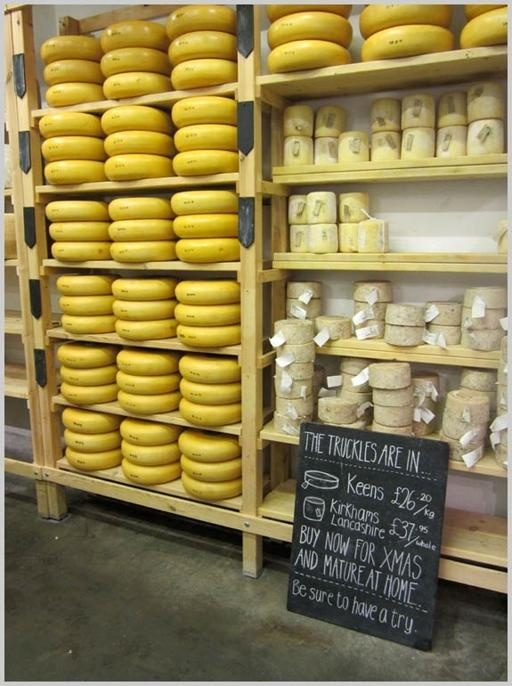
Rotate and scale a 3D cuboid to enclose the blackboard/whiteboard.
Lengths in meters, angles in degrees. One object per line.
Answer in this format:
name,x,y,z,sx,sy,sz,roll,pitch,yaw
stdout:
blackboard/whiteboard,0.401,0.702,1.923,0.727,0.908,0.046,4,-3,30
